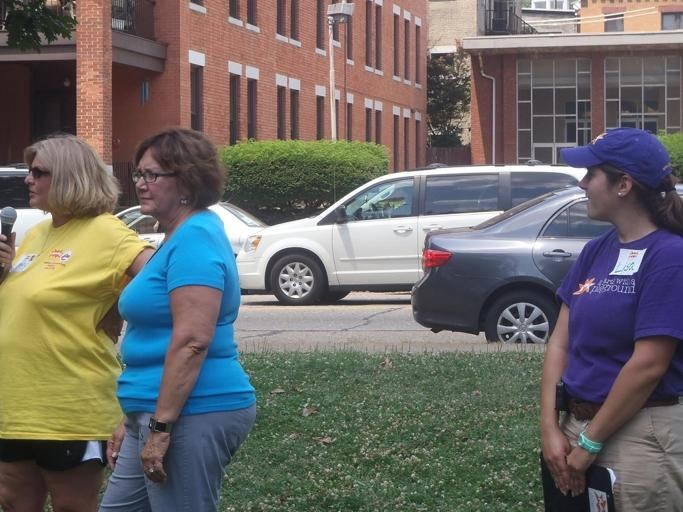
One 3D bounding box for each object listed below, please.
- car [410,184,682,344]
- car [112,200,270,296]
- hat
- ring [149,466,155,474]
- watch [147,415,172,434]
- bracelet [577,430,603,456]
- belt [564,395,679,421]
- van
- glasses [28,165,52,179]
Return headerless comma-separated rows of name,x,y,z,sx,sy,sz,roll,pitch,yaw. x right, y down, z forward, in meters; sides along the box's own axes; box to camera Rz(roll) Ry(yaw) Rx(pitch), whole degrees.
car,2.042,0.105,11.039,2.983,1.019,1.293,-4,3,2
car,-2.171,-0.256,16.307,2.721,0.853,1.176,1,1,0
hat,1.291,-0.468,5.007,0.439,0.198,0.268,10,6,14
ring,-0.866,0.975,4.867,0.022,0.027,0.007,2,-4,4
watch,-0.822,0.770,4.835,0.102,0.054,0.096,10,-3,-1
bracelet,1.117,0.850,4.878,0.119,0.113,0.080,-15,15,32
belt,1.246,0.688,4.880,0.283,0.074,0.201,-5,-1,18
van,1.063,-0.299,15.226,4.870,1.546,1.972,-1,3,11
glasses,-1.565,-0.435,5.523,0.079,0.025,0.084,6,-2,45
